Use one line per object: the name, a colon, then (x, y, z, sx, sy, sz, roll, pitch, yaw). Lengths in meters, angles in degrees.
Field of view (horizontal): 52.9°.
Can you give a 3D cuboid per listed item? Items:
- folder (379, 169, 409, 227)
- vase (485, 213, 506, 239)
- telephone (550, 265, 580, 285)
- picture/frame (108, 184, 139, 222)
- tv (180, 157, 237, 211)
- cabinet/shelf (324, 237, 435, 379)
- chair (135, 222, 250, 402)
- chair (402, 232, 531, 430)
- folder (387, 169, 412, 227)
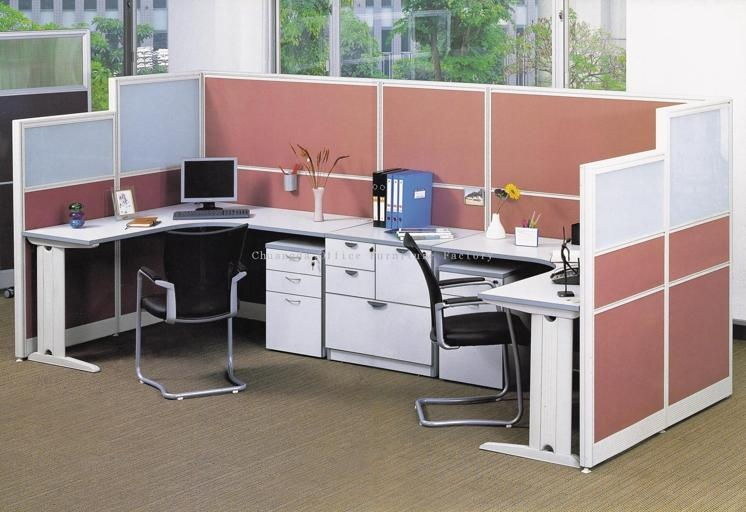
folder: (0.236, -0.392, 5.448, 0.231, 0.384, 0.296, 0, -7, 22)
vase: (0.848, -0.208, 5.145, 0.168, 0.177, 0.170, 5, 7, 44)
telephone: (1.085, 0.103, 4.219, 0.097, 0.043, 0.135, -5, 6, -41)
picture/frame: (-1.894, -0.396, 5.664, 0.279, 0.331, 0.054, -11, 7, -43)
tv: (-1.291, -0.585, 5.903, 0.459, 0.381, 0.146, -1, 2, -11)
cabinet/shelf: (0.074, 0.328, 5.142, 0.954, 0.886, 0.567, 3, 5, 28)
chair: (-1.275, 0.283, 5.164, 0.739, 1.101, 0.999, -4, 13, -18)
chair: (0.635, 0.440, 5.079, 1.113, 1.463, 1.022, -1, 4, 5)
folder: (0.192, -0.403, 5.334, 0.159, 0.426, 0.331, 5, 11, 24)
